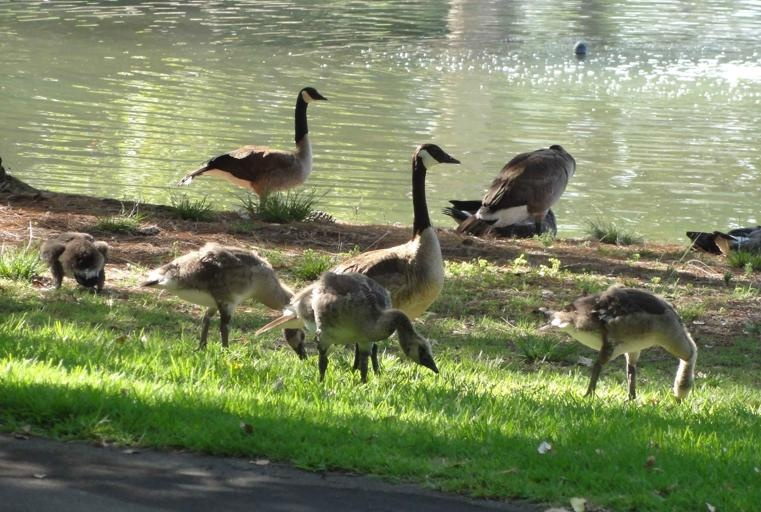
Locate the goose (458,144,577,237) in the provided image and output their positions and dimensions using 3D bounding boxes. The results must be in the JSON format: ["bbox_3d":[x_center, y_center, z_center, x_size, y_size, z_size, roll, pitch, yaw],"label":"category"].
[{"bbox_3d":[3.250,-1.491,25.173,2.198,2.170,1.068,7,7,6],"label":"goose"}]

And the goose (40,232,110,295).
[{"bbox_3d":[-5.517,0.116,19.723,0.893,1.004,1.199,1,7,-41],"label":"goose"}]

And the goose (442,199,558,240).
[{"bbox_3d":[2.966,-0.931,26.230,3.356,1.323,0.931,0,8,6],"label":"goose"}]

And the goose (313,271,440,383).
[{"bbox_3d":[-0.251,1.143,16.758,1.881,1.696,0.651,6,7,0],"label":"goose"}]
